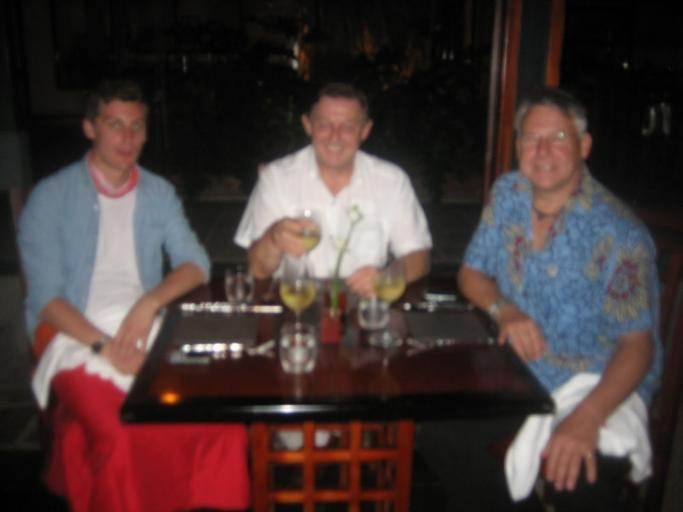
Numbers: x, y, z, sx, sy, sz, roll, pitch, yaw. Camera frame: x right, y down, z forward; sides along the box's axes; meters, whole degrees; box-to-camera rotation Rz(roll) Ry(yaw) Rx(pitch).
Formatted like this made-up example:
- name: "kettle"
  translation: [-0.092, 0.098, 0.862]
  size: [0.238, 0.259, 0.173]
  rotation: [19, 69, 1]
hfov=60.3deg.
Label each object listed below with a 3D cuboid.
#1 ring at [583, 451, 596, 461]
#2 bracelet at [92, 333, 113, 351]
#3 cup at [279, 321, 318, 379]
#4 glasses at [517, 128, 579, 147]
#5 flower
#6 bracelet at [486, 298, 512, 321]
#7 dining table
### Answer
- name: "ring"
  translation: [0.818, 0.669, 1.948]
  size: [0.022, 0.022, 0.025]
  rotation: [0, -11, 16]
- name: "bracelet"
  translation: [-0.939, 0.351, 2.314]
  size: [0.063, 0.018, 0.060]
  rotation: [-12, 32, 21]
- name: "cup"
  translation: [-0.141, 0.307, 1.943]
  size: [0.094, 0.061, 0.153]
  rotation: [2, 34, -2]
- name: "glasses"
  translation: [0.791, -0.455, 2.272]
  size: [0.215, 0.065, 0.049]
  rotation: [6, 13, 18]
- name: "flower"
  translation: [0.023, 0.018, 2.527]
  size: [0.168, 0.508, 0.114]
  rotation: [19, 52, 11]
- name: "bracelet"
  translation: [0.582, 0.203, 2.214]
  size: [0.058, 0.029, 0.076]
  rotation: [-20, 6, 42]
- name: "dining table"
  translation: [0.007, 0.688, 2.180]
  size: [1.026, 0.728, 0.567]
  rotation: [-1, 29, -1]
